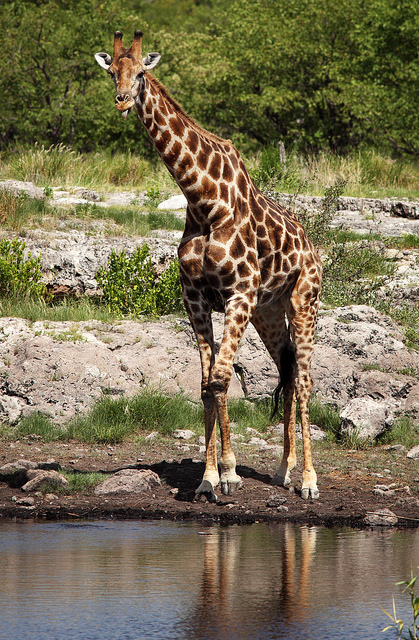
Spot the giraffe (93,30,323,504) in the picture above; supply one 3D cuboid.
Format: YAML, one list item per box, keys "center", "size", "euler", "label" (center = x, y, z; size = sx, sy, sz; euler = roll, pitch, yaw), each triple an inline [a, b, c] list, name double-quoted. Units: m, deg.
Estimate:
- center: [0.181, -0.420, 9.614]
  size: [2.215, 3.620, 1.034]
  euler: [-3, 7, -43]
  label: "giraffe"
